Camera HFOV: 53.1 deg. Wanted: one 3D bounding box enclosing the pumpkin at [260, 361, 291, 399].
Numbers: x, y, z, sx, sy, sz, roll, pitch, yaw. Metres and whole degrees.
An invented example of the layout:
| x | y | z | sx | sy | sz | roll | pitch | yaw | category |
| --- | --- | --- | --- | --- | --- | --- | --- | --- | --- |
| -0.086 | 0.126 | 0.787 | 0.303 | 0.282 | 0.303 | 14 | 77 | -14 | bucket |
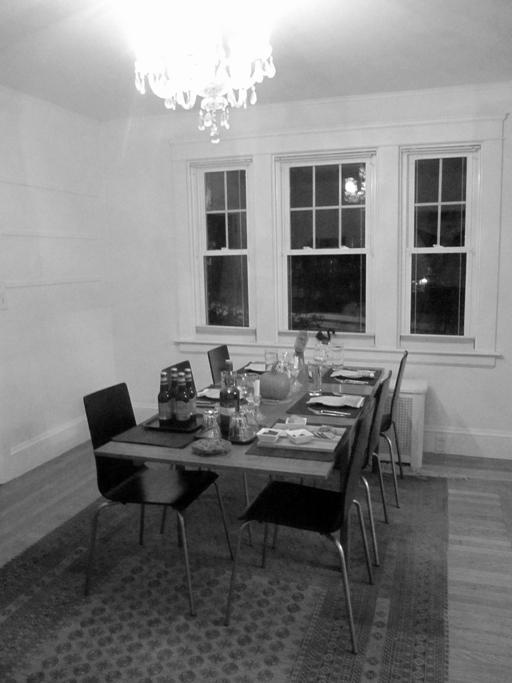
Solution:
| x | y | z | sx | sy | sz | roll | pitch | yaw | category |
| --- | --- | --- | --- | --- | --- | --- | --- | --- | --- |
| 0.094 | 0.200 | 2.732 | 0.140 | 0.229 | 0.158 | 0 | 4 | -6 | pumpkin |

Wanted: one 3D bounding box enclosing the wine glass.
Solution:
| x | y | z | sx | sy | sz | roll | pitch | yaw | category |
| --- | --- | --- | --- | --- | --- | --- | --- | --- | --- |
| 0.382 | 0.106 | 3.448 | 0.216 | 0.403 | 0.833 | 7 | 11 | 26 | wine glass |
